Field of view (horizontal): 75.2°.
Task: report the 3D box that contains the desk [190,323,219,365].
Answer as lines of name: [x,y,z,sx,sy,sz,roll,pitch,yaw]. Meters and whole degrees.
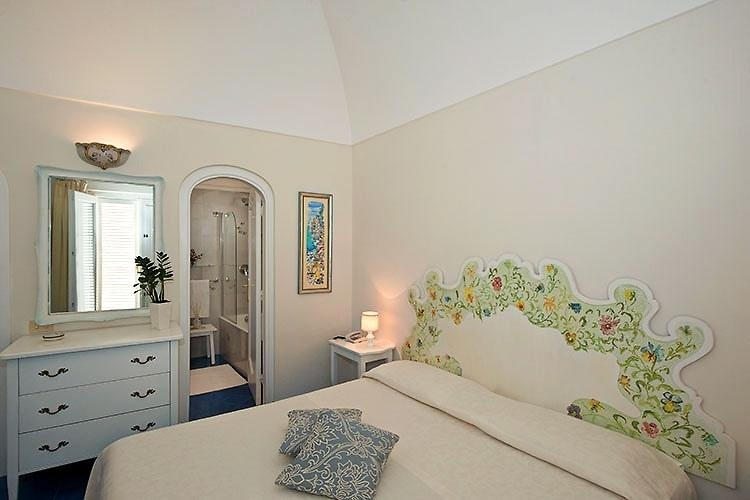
desk: [-2.370,1.316,6.891,0.457,0.548,0.454,-1,-1,-33]

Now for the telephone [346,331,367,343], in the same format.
telephone: [-0.185,0.908,5.129,0.105,0.044,0.144,0,1,43]
